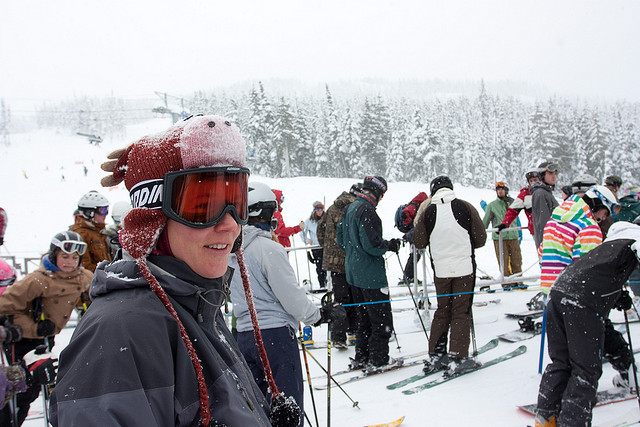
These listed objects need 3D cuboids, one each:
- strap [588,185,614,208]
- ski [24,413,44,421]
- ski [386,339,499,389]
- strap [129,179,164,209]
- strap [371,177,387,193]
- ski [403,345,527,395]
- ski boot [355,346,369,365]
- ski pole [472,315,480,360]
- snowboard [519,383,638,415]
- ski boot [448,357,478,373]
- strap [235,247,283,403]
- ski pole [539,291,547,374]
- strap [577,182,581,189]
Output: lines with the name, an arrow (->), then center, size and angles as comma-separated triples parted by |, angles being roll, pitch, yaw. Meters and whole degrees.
strap -> 4.365, -0.251, 9.585 | 0.161, 0.317, 0.251 | -39, -7, 7
ski -> -4.290, 3.086, 9.286 | 0.150, 0.041, 0.139 | -7, 2, -10
ski -> 1.994, 2.452, 9.826 | 1.354, 0.127, 0.158 | -25, 13, -14
strap -> -1.621, -0.180, 5.777 | 0.239, 0.235, 0.297 | 2, -14, -13
strap -> 1.024, -0.486, 10.346 | 0.128, 0.269, 0.391 | 5, 15, 34
ski -> 2.298, 2.507, 9.667 | 1.721, 0.152, 0.178 | -17, 19, -28
ski boot -> 0.702, 2.372, 10.193 | 0.253, 0.369, 0.238 | 1, -16, -2
ski pole -> 2.568, 2.122, 10.080 | 0.057, 0.557, 0.080 | -5, -5, 4
snowboard -> 3.561, 2.551, 8.352 | 1.407, 0.217, 0.401 | -10, 4, -16
ski boot -> 2.268, 2.413, 9.743 | 0.329, 0.143, 0.210 | 0, 3, -11
strap -> -0.612, 1.299, 6.530 | 0.340, 2.304, 0.299 | 13, 38, 27
ski pole -> 3.621, 1.996, 9.978 | 0.081, 1.337, 0.087 | 3, -2, 33
strap -> 4.620, -0.502, 10.951 | 0.072, 0.075, 0.076 | 0, 4, 21
